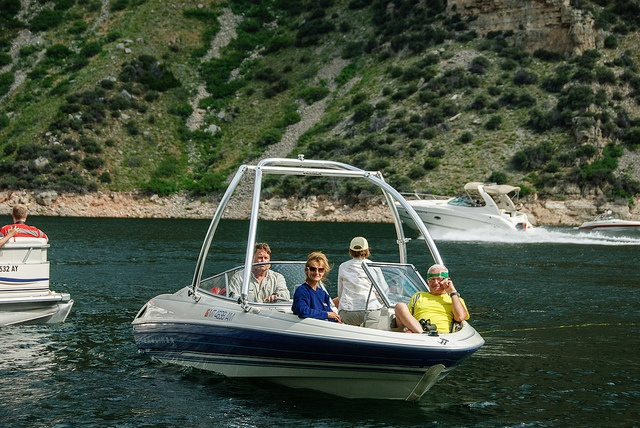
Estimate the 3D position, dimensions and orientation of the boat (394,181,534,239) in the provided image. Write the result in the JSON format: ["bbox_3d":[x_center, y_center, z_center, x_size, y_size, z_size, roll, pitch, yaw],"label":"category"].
[{"bbox_3d":[16.082,-0.014,94.200,17.635,5.253,5.177,5,-2,34],"label":"boat"}]
